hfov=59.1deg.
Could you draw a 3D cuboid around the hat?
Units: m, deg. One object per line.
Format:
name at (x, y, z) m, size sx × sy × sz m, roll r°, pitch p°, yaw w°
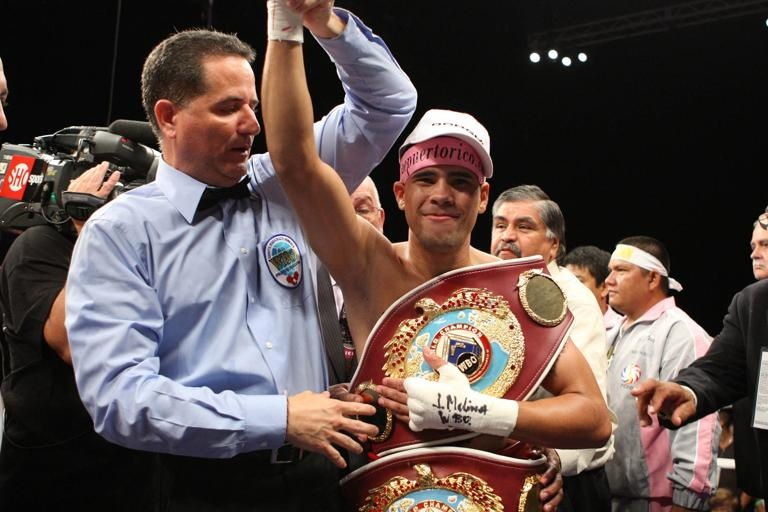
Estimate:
hat at (0.313, -0.608, 3.389) m, size 0.301 × 0.206 × 0.392 m, roll 2°, pitch -7°, yaw -21°
